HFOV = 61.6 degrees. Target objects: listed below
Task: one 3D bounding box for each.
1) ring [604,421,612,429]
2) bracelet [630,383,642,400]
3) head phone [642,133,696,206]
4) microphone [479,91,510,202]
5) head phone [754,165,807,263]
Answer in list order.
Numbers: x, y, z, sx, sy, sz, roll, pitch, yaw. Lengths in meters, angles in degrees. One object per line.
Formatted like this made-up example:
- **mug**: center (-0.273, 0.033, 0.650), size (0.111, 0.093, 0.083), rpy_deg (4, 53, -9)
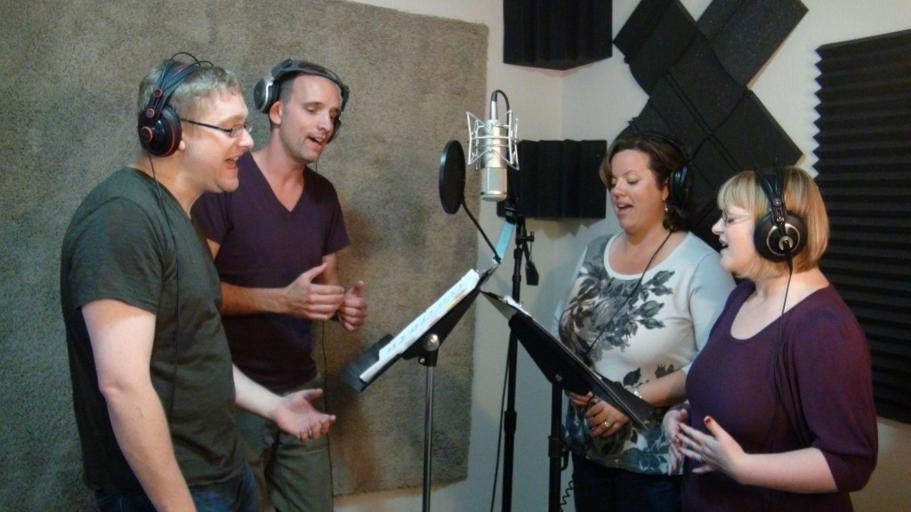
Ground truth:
- **ring**: center (0.725, 0.803, 3.610), size (0.038, 0.039, 0.009), rpy_deg (-1, -3, 21)
- **bracelet**: center (0.846, 0.631, 3.571), size (0.064, 0.064, 0.047), rpy_deg (10, -28, -42)
- **head phone**: center (1.044, -0.419, 3.772), size (0.150, 0.356, 0.377), rpy_deg (-2, -4, -15)
- **microphone**: center (0.212, -0.519, 3.551), size (0.140, 0.522, 0.246), rpy_deg (1, 5, 15)
- **head phone**: center (1.367, -0.164, 3.306), size (0.188, 0.371, 0.423), rpy_deg (-15, 5, 13)
